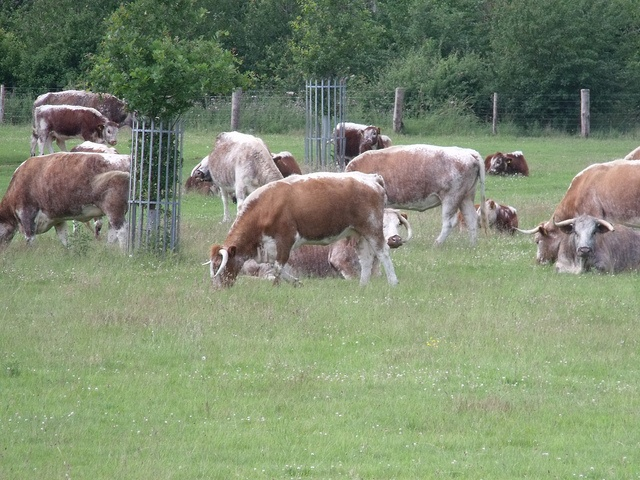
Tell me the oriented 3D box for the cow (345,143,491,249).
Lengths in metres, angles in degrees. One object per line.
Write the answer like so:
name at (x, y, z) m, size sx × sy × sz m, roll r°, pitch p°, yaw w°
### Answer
cow at (2.070, -1.074, 36.702) m, size 4.219 × 2.720 × 1.156 m, roll 0°, pitch 5°, yaw 21°

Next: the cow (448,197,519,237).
cow at (4.252, -0.560, 37.561) m, size 1.347 × 1.085 × 1.213 m, roll 3°, pitch 13°, yaw 37°

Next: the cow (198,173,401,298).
cow at (-0.365, -0.128, 32.223) m, size 4.355 × 2.710 × 1.314 m, roll -3°, pitch 1°, yaw -15°

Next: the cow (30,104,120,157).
cow at (-7.825, -3.393, 45.969) m, size 2.932 × 1.739 × 0.723 m, roll 4°, pitch 13°, yaw 12°

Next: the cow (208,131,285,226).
cow at (-1.902, -1.500, 37.655) m, size 1.286 × 2.398 × 4.145 m, roll 2°, pitch 6°, yaw -26°

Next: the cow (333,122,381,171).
cow at (1.164, -3.324, 47.564) m, size 0.755 × 1.470 × 2.674 m, roll -3°, pitch 2°, yaw -26°
